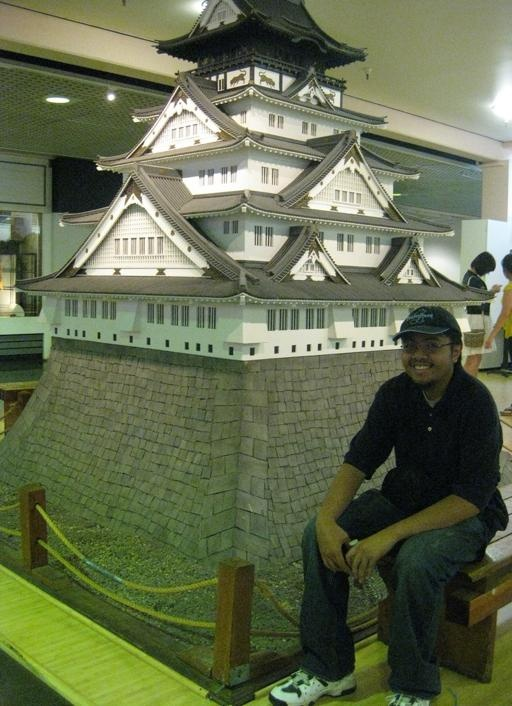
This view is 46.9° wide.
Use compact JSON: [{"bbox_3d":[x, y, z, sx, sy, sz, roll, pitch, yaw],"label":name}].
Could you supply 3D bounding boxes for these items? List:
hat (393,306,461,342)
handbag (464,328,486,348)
[{"bbox_3d":[0.685,-0.128,2.309,0.211,0.095,0.150,15,-14,-39],"label":"hat"},{"bbox_3d":[3.176,-0.242,8.525,0.349,0.221,0.329,-2,4,-6],"label":"handbag"}]
